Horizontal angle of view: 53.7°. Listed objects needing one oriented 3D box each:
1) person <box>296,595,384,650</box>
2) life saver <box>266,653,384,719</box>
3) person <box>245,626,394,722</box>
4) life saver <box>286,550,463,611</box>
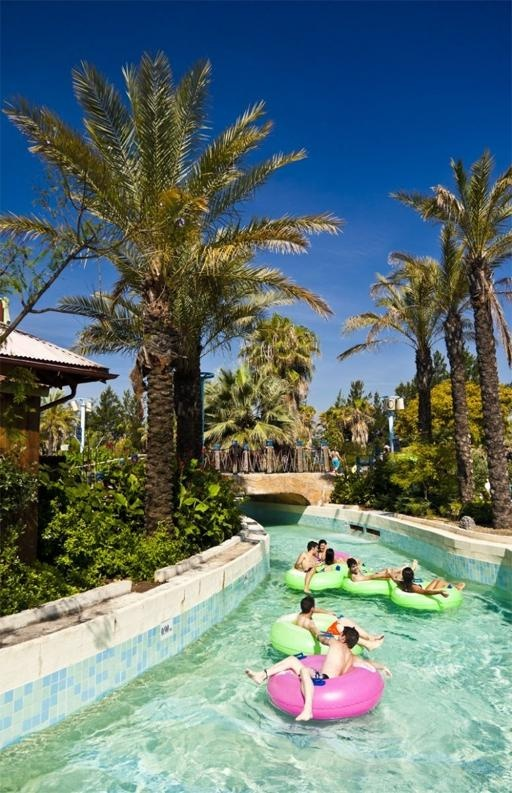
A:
[{"bbox_3d":[1.004,2.685,5.969,1.042,0.654,0.681,2,-9,1],"label":"person"},{"bbox_3d":[0.866,2.570,4.674,0.694,0.257,0.724,-18,2,40],"label":"life saver"},{"bbox_3d":[0.595,2.539,4.514,0.988,0.539,0.661,2,-9,-22],"label":"person"},{"bbox_3d":[2.051,3.383,9.013,3.027,0.468,0.932,-4,-10,34],"label":"life saver"}]
